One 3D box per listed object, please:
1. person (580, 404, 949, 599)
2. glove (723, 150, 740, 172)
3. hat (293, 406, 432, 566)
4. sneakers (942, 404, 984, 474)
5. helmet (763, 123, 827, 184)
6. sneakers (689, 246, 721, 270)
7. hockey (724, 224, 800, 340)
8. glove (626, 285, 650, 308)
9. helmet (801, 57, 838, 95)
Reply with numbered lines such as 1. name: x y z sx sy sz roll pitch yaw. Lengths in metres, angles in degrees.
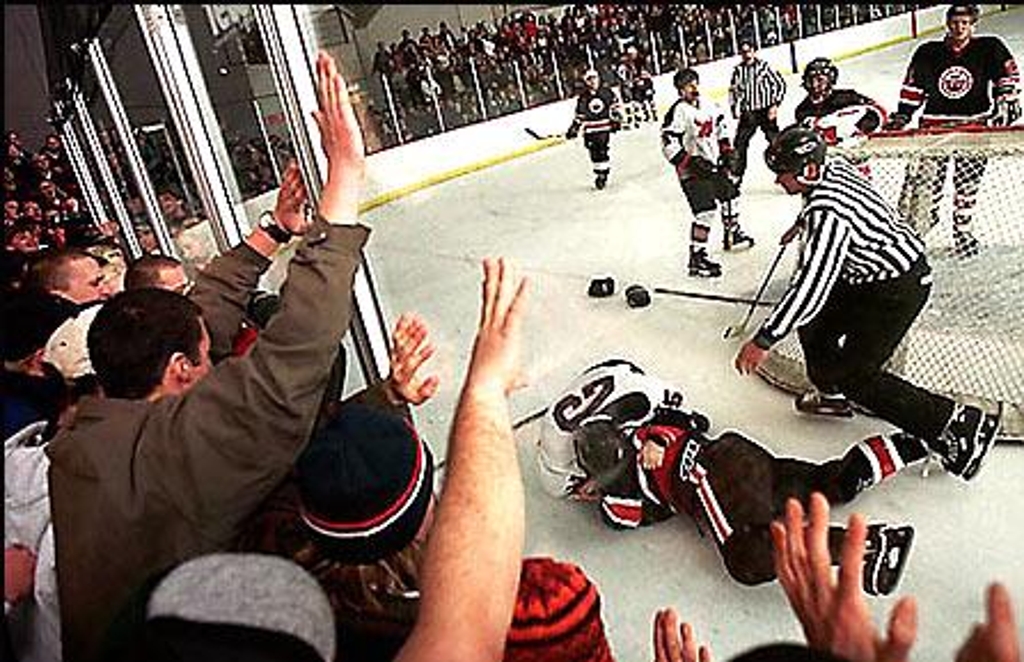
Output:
1. person: 0.843 0.612 2.335 1.095 0.491 0.393 15 -17 27
2. glove: 0.823 -0.641 2.399 0.061 0.072 0.027 6 -7 4
3. hat: -0.447 0.457 1.973 0.413 0.458 0.258 -8 -18 -2
4. sneakers: 1.502 0.362 2.169 0.148 0.207 0.134 17 -10 -37
5. helmet: 0.966 -0.612 2.180 0.200 0.177 0.158 -3 37 45
6. sneakers: 0.712 -0.264 2.369 0.118 0.100 0.041 -5 25 12
7. hockey: 0.907 -0.172 2.302 0.080 0.446 0.080 21 17 -30
8. glove: 0.478 -0.129 2.409 0.094 0.072 0.054 -7 24 8
9. helmet: 1.097 -0.905 2.271 0.100 0.115 0.125 1 24 32
